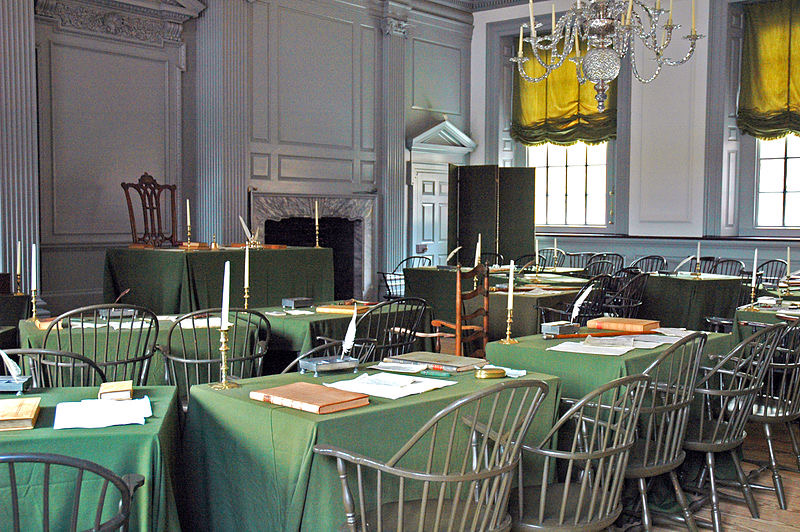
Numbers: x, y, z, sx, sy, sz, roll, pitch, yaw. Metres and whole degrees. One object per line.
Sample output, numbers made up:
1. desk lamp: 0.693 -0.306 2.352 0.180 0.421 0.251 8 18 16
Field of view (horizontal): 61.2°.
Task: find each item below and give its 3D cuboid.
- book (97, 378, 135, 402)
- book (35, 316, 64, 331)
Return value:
1. book: -1.324 0.586 3.135 0.149 0.065 0.181 -2 2 -20
2. book: -2.369 0.389 4.506 0.240 0.060 0.235 0 2 -31
